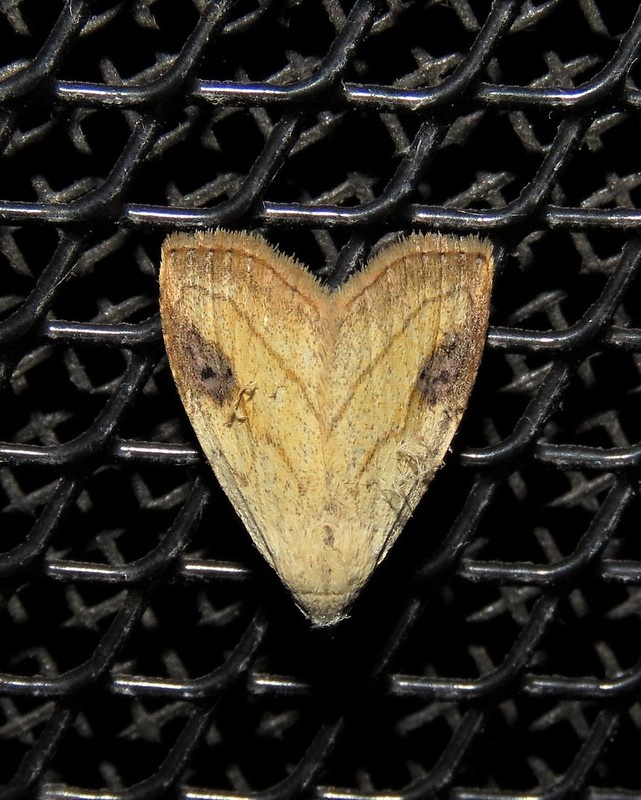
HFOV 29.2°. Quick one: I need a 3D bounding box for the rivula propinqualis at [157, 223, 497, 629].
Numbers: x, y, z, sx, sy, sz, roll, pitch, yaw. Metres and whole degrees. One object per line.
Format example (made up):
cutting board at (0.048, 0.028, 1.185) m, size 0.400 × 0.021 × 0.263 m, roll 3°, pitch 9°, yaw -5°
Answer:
rivula propinqualis at (0.005, 0.023, 1.020) m, size 0.271 × 0.109 × 0.306 m, roll -1°, pitch 77°, yaw 1°
